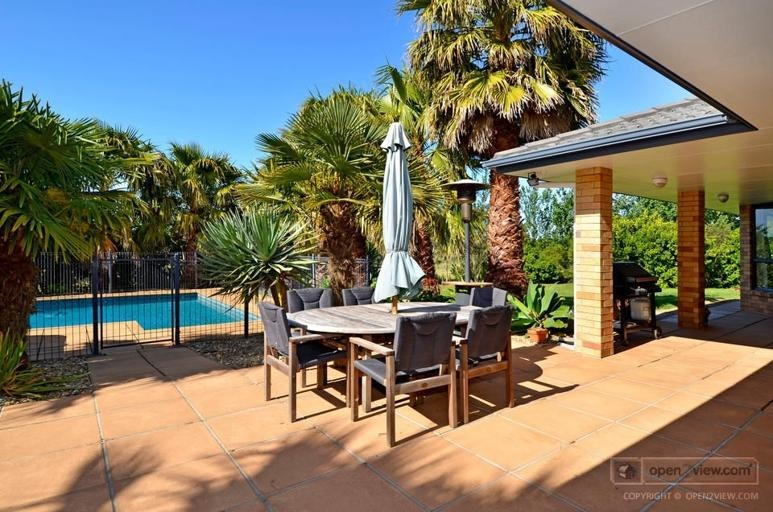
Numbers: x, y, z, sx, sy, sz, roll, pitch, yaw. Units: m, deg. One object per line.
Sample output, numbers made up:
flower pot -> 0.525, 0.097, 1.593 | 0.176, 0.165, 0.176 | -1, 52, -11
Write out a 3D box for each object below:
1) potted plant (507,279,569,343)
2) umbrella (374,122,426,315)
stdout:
potted plant -> 3.225, 1.105, 9.834 | 1.050, 1.046, 1.285 | 10, 17, 40
umbrella -> 0.140, -0.670, 6.974 | 0.698, 2.550, 0.907 | -2, 14, -4
